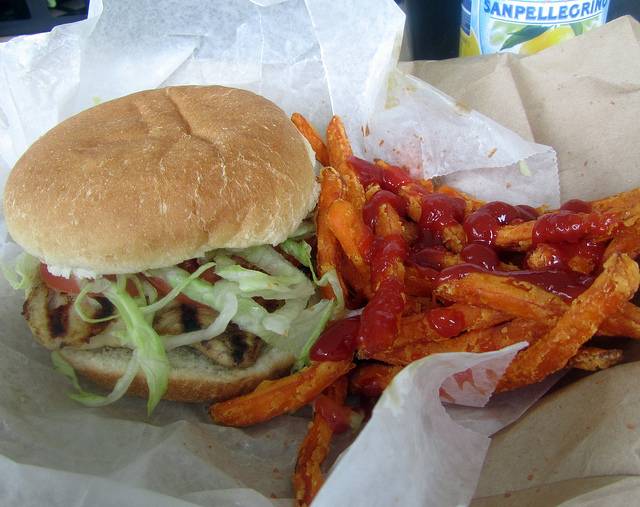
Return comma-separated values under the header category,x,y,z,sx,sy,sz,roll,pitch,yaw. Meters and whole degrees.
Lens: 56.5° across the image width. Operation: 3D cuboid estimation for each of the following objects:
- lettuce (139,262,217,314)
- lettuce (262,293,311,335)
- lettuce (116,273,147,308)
category,x,y,z,sx,sy,sz,roll,pitch,yaw
lettuce,-0.464,0.111,1.891,0.190,0.156,0.246,-9,15,-42
lettuce,-0.103,0.179,1.979,0.092,0.046,0.166,29,50,35
lettuce,-0.595,0.105,1.891,0.034,0.111,0.084,-42,56,-5
